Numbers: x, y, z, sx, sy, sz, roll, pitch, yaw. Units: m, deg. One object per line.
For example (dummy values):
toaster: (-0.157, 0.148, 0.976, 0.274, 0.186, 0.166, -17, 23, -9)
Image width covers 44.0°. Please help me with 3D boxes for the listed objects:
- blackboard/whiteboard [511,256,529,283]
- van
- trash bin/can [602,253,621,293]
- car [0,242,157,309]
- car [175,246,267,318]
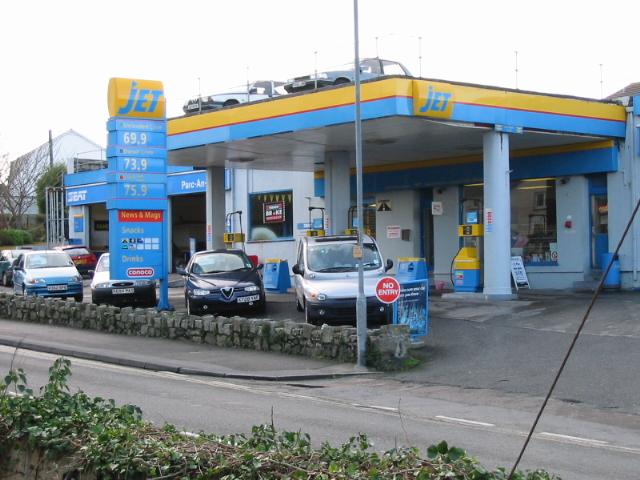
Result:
blackboard/whiteboard: (6.749, 1.043, 26.624, 0.611, 0.931, 0.715, 3, 6, -2)
van: (0.456, 0.925, 19.379, 1.512, 1.403, 2.809, -2, -5, -7)
trash bin/can: (8.918, 0.992, 24.270, 0.679, 1.067, 0.730, 0, -5, -3)
car: (-7.805, 1.300, 25.504, 5.983, 1.717, 2.189, 8, 8, 39)
car: (-2.675, 1.287, 21.627, 2.213, 1.565, 2.021, 2, 6, -12)
